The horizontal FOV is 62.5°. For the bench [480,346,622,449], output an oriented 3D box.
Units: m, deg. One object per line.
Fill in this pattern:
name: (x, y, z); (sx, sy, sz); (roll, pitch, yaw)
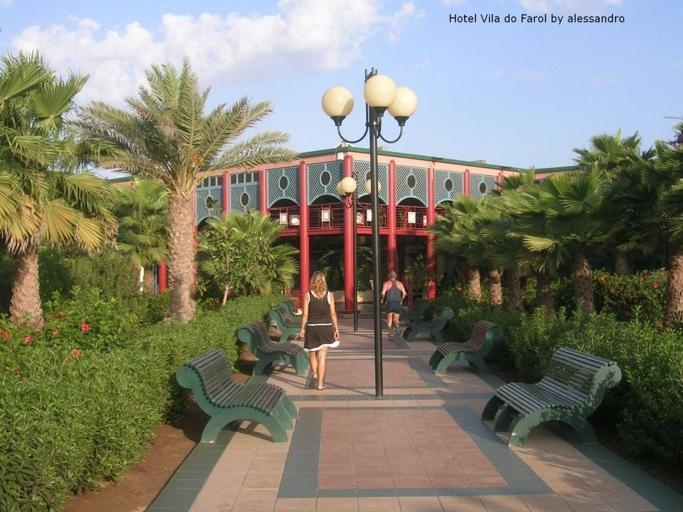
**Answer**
bench: (2.613, 1.703, 6.974); (1.163, 0.854, 1.078); (0, 1, -4)

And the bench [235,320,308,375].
bench: (-1.291, 1.783, 10.780); (1.161, 0.855, 0.929); (0, 2, 2)

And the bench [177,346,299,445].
bench: (-1.277, 1.787, 7.207); (1.094, 0.799, 1.142); (2, 1, -2)

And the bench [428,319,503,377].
bench: (2.382, 1.687, 10.765); (1.235, 0.889, 0.811); (-3, 8, -3)
